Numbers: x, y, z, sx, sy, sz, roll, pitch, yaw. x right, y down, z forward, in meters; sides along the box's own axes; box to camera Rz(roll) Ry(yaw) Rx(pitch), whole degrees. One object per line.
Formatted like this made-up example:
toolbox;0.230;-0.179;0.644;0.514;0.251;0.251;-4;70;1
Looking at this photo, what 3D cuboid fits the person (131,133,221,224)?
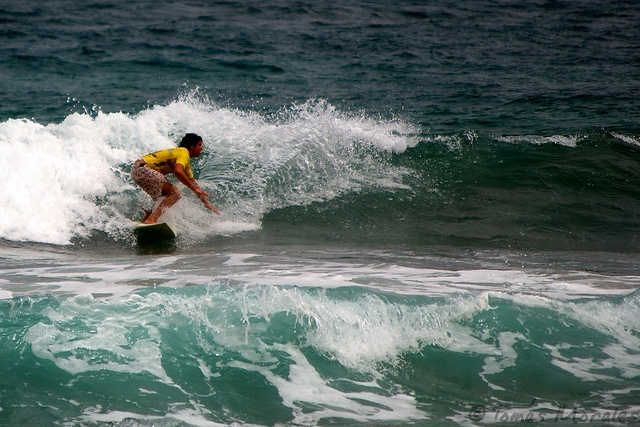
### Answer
person;-3.034;-0.706;15.100;1.454;1.813;0.645;0;7;-11
